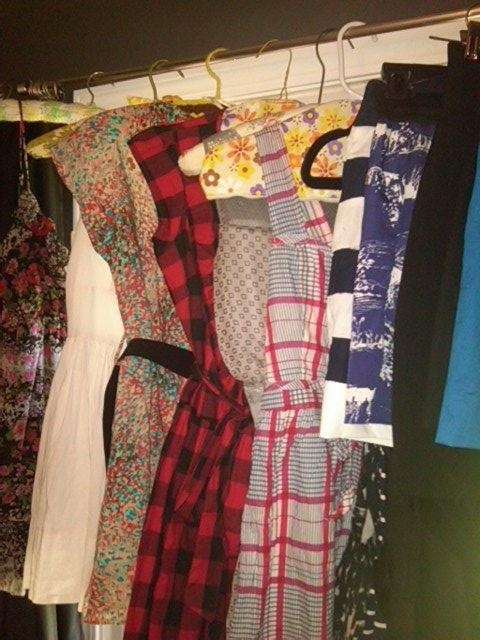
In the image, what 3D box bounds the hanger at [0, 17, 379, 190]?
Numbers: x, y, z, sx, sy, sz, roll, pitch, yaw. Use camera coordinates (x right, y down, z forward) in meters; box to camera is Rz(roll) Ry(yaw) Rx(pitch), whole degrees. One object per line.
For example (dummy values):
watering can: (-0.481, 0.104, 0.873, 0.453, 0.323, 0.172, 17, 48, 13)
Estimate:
hanger: (-0.093, -0.404, 1.284, 0.708, 0.293, 0.442, 6, 20, 18)
